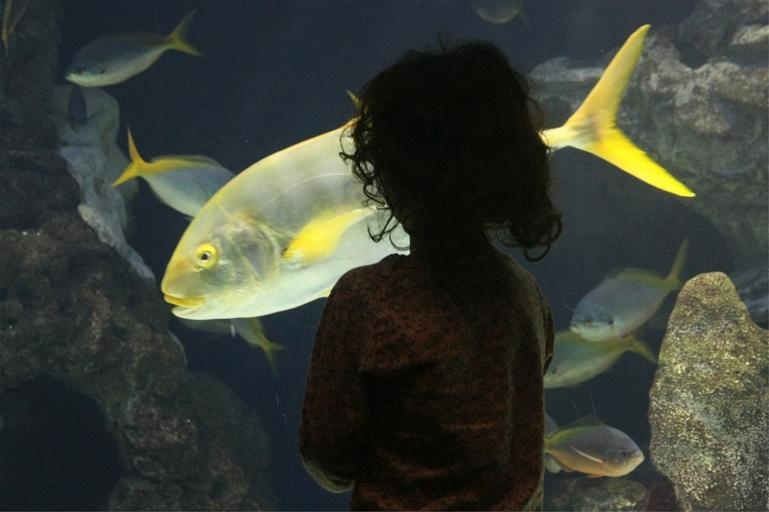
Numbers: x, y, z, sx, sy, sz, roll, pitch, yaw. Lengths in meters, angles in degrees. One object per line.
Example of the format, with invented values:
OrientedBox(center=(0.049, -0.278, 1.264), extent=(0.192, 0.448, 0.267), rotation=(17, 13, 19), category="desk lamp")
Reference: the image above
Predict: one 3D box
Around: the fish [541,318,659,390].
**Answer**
OrientedBox(center=(1.322, 0.647, 7.795), extent=(0.833, 0.386, 0.216), rotation=(-17, -14, 25), category="fish")

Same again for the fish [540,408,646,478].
OrientedBox(center=(1.230, 1.219, 7.693), extent=(0.829, 0.387, 0.270), rotation=(2, -10, 23), category="fish")
